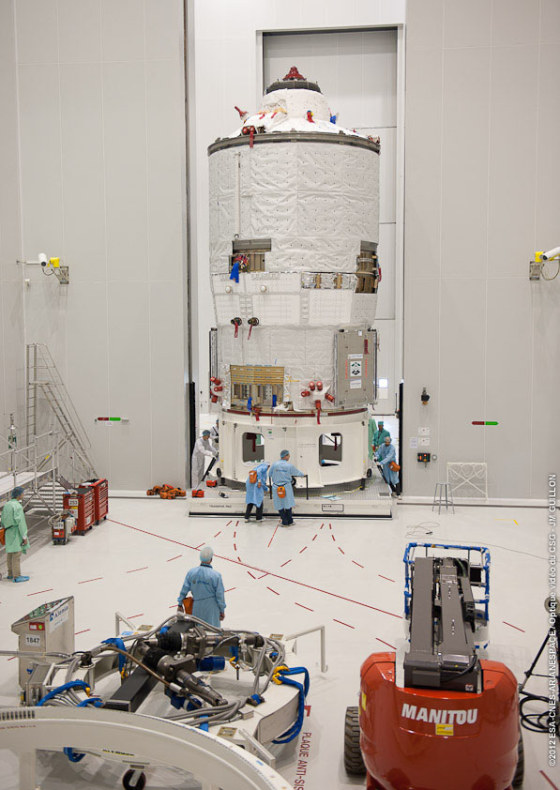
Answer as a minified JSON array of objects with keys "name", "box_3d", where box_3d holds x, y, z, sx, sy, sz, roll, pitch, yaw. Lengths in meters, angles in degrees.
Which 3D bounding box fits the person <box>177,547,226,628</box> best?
[{"name":"person","box_3d":[-0.857,2.226,9.854,0.447,1.472,0.368,2,22,-6]}]

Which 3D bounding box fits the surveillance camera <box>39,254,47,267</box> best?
[{"name":"surveillance camera","box_3d":[-4.533,-2.594,17.209,0.176,0.251,0.607,-1,4,-16]}]

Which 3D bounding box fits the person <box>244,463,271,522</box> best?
[{"name":"person","box_3d":[-0.402,1.671,15.854,0.413,1.065,1.000,0,3,-1]}]

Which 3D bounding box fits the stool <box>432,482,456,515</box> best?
[{"name":"stool","box_3d":[3.135,1.919,17.161,0.368,0.877,0.451,1,-9,-11]}]

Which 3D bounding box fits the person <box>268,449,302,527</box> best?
[{"name":"person","box_3d":[0.092,1.591,15.636,0.510,1.265,0.634,-1,3,-18]}]

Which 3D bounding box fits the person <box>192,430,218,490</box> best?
[{"name":"person","box_3d":[-1.512,1.277,17.975,0.385,1.253,0.383,2,33,-9]}]
